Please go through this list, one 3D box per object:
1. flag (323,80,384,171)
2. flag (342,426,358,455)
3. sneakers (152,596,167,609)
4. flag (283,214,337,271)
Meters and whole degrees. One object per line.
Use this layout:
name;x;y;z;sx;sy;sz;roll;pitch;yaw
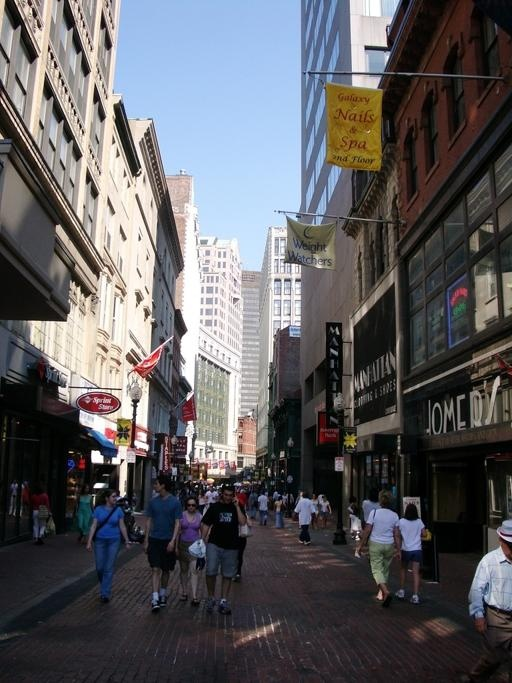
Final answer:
flag;2.584;-5.610;13.292;1.468;1.596;1.005;3;-16;-10
flag;4.120;4.301;22.020;0.463;1.088;1.391;-6;-20;21
sneakers;-1.397;3.754;7.212;0.103;0.221;0.397;2;-16;1
flag;2.210;-4.370;20.659;1.823;2.490;2.124;-11;-20;33
